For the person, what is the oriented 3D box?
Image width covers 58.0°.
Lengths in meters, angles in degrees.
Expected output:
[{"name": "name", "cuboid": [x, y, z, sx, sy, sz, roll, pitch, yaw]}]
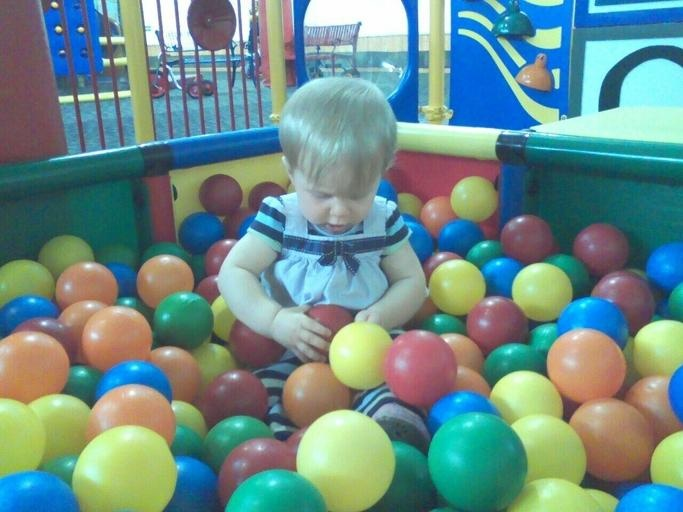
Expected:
[{"name": "person", "cuboid": [-0.024, 0.026, 1.586, 0.502, 0.873, 0.716, -6, 28, -22]}]
